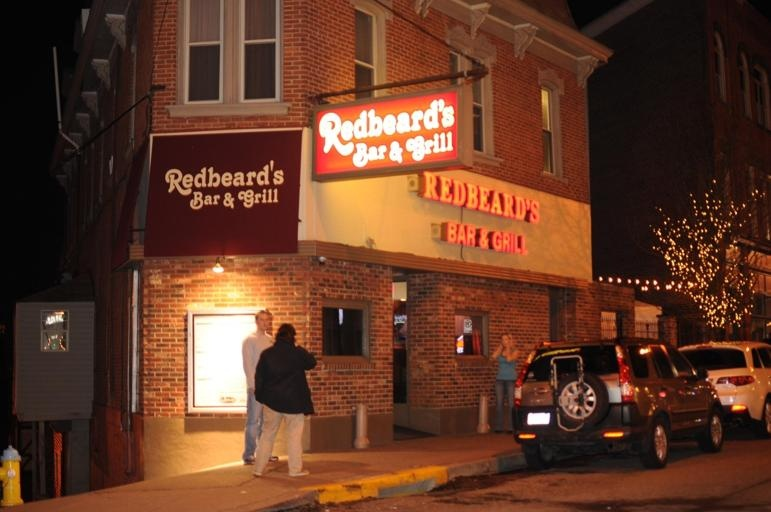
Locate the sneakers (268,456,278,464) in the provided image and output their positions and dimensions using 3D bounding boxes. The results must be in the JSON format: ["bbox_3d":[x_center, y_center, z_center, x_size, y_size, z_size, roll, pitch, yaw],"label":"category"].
[{"bbox_3d":[-2.566,4.648,22.210,0.103,0.126,0.293,0,3,19],"label":"sneakers"}]

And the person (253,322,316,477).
[{"bbox_3d":[-2.190,3.054,20.700,1.254,3.211,0.707,1,-12,-8],"label":"person"}]

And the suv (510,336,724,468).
[{"bbox_3d":[5.392,3.337,21.952,4.584,2.847,1.818,6,-14,-29],"label":"suv"}]
